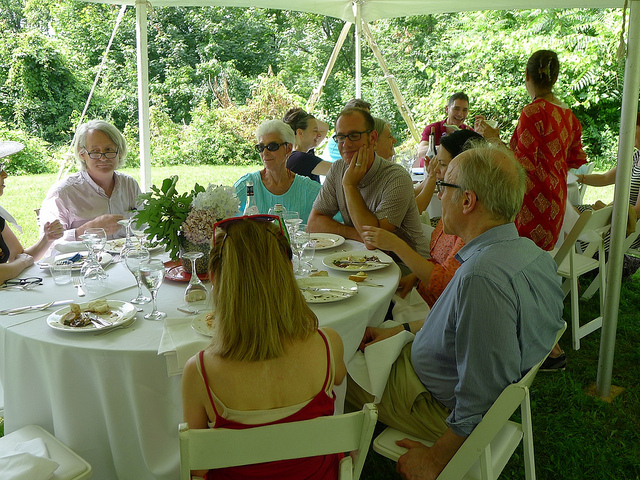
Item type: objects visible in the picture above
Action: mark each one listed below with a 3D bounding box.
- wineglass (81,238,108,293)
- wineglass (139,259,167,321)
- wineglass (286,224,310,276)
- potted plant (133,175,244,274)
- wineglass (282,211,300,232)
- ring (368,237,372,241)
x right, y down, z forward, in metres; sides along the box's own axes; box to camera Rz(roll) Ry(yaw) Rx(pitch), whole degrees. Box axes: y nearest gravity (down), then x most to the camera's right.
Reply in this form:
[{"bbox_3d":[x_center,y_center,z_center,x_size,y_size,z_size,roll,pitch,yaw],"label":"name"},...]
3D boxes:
[{"bbox_3d":[-1.103,0.121,2.476,0.100,0.248,0.196,-6,11,-22],"label":"wineglass"},{"bbox_3d":[-0.712,0.209,2.225,0.125,0.257,0.125,-5,15,-24],"label":"wineglass"},{"bbox_3d":[-0.113,0.046,2.747,0.110,0.250,0.272,-2,10,-4],"label":"wineglass"},{"bbox_3d":[-0.691,-0.130,2.589,0.514,0.368,0.532,7,11,32],"label":"potted plant"},{"bbox_3d":[-0.164,-0.105,2.879,0.103,0.114,0.106,13,21,42],"label":"wineglass"},{"bbox_3d":[0.282,-0.004,2.788,0.021,0.021,0.012,-10,-19,42],"label":"ring"}]
